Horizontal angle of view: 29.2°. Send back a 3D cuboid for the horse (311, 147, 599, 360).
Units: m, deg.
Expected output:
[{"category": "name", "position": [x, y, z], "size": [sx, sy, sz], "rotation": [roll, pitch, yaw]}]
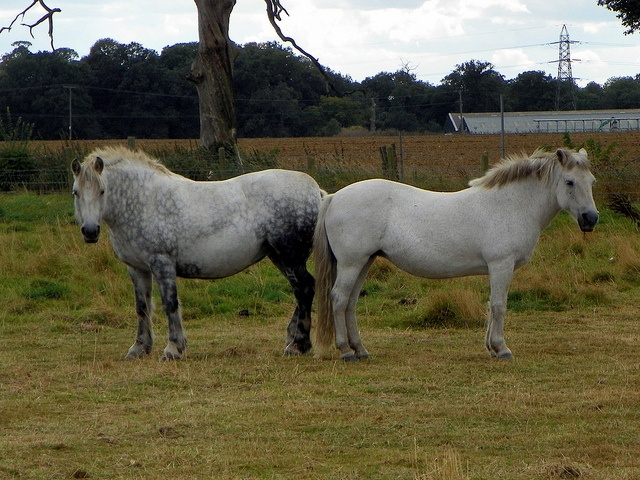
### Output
[{"category": "horse", "position": [2.731, 0.436, 23.708], "size": [3.834, 3.405, 1.302], "rotation": [0, -4, 2]}]
